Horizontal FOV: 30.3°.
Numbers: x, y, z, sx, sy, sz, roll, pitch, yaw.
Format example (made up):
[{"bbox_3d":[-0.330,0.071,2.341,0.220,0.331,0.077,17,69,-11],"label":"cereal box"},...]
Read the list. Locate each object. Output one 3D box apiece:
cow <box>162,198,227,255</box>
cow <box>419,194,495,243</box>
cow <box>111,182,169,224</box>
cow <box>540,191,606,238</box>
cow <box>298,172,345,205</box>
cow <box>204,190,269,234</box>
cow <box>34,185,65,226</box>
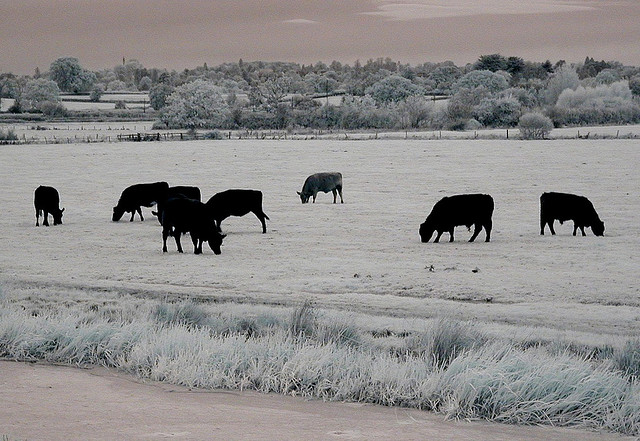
[{"bbox_3d":[-5.077,0.042,53.095,4.657,3.191,1.351,1,2,26],"label":"cow"},{"bbox_3d":[6.403,-0.060,55.229,4.038,2.140,1.028,-9,-3,-23],"label":"cow"},{"bbox_3d":[-8.847,-0.937,59.434,3.276,1.828,0.814,-12,-12,3],"label":"cow"},{"bbox_3d":[11.872,-0.324,56.144,2.849,2.038,0.989,0,2,10],"label":"cow"},{"bbox_3d":[0.136,-1.793,65.271,2.532,1.657,1.427,-1,2,-15],"label":"cow"},{"bbox_3d":[-4.515,-0.814,56.182,4.550,2.427,1.152,2,-7,-16],"label":"cow"},{"bbox_3d":[-13.348,-0.746,58.479,1.357,1.915,1.528,-1,2,-26],"label":"cow"}]
